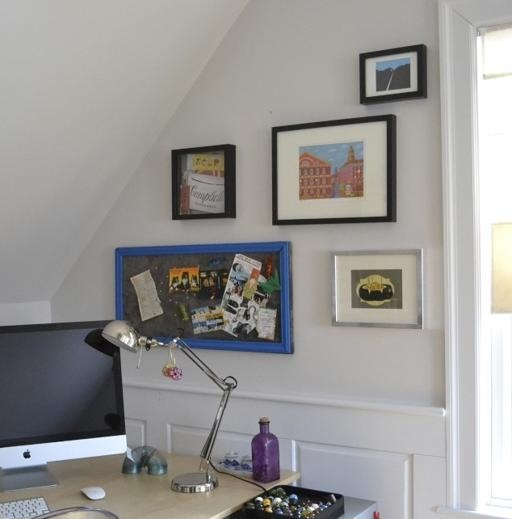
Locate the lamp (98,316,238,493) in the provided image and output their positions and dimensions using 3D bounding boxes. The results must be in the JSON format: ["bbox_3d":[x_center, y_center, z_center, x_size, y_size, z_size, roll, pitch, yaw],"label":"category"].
[{"bbox_3d":[-0.263,0.434,1.505,0.410,0.508,0.162,2,5,15],"label":"lamp"}]

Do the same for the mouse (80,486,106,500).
[{"bbox_3d":[-0.448,0.640,1.364,0.067,0.020,0.097,6,-6,-18],"label":"mouse"}]
